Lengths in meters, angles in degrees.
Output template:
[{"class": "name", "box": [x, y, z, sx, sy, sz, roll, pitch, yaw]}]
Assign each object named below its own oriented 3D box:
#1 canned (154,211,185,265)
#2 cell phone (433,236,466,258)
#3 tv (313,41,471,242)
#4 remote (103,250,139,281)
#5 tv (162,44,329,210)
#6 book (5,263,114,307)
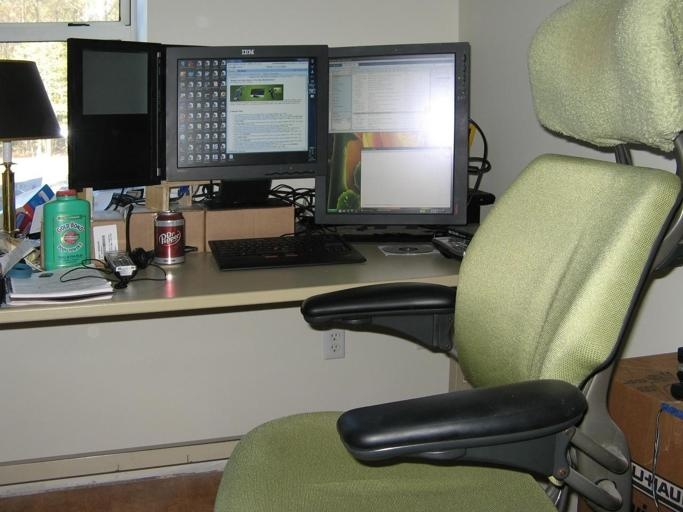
[{"class": "canned", "box": [-0.509, -0.058, 1.800, 0.092, 0.149, 0.093, -6, 18, -17]}, {"class": "cell phone", "box": [0.339, -0.023, 1.851, 0.059, 0.030, 0.080, -8, 31, -23]}, {"class": "tv", "box": [0.161, -0.378, 1.953, 0.615, 0.764, 0.059, 0, 12, 4]}, {"class": "remote", "box": [-0.605, 0.007, 1.685, 0.054, 0.050, 0.167, -2, 22, -29]}, {"class": "tv", "box": [-0.299, -0.412, 1.882, 0.491, 0.524, 0.192, -1, 8, -13]}, {"class": "book", "box": [-0.725, 0.072, 1.569, 0.241, 0.043, 0.257, -10, 20, -26]}]
